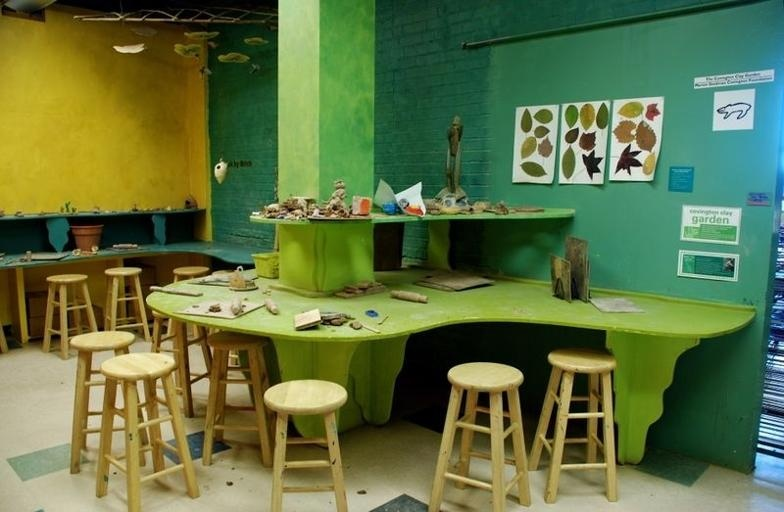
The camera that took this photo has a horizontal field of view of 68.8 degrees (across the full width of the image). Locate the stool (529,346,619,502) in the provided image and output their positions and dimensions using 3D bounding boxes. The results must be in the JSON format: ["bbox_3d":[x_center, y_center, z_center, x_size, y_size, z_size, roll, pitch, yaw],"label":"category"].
[{"bbox_3d":[1.566,1.348,4.866,0.716,1.120,1.059,4,12,20],"label":"stool"}]

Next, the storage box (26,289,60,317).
[{"bbox_3d":[-4.576,0.629,7.517,0.343,0.281,0.312,2,1,-25],"label":"storage box"}]

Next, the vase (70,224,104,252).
[{"bbox_3d":[-4.095,-0.225,7.763,0.407,0.278,0.387,0,-2,-2],"label":"vase"}]

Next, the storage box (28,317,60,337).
[{"bbox_3d":[-4.430,0.907,7.291,0.160,0.191,0.298,5,7,44],"label":"storage box"}]
